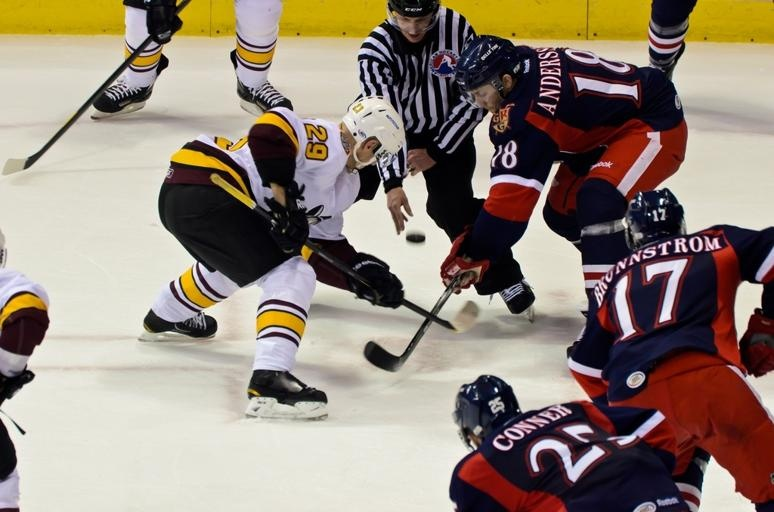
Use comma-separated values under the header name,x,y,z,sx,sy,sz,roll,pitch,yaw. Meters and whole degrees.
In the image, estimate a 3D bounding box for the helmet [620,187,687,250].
name,x,y,z,sx,sy,sz,roll,pitch,yaw
helmet,1.087,-0.160,3.499,0.216,0.262,0.253,0,67,-2

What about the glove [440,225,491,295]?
name,x,y,z,sx,sy,sz,roll,pitch,yaw
glove,0.388,0.045,4.333,0.125,0.311,0.296,29,21,-35

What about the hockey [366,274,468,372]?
name,x,y,z,sx,sy,sz,roll,pitch,yaw
hockey,0.167,0.272,4.445,0.279,0.188,0.811,33,48,10

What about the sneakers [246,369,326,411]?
name,x,y,z,sx,sy,sz,roll,pitch,yaw
sneakers,-0.459,0.615,3.848,0.423,0.227,0.146,0,-2,-3

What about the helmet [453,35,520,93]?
name,x,y,z,sx,sy,sz,roll,pitch,yaw
helmet,0.477,-0.951,4.131,0.302,0.285,0.234,-22,29,12

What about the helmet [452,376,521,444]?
name,x,y,z,sx,sy,sz,roll,pitch,yaw
helmet,0.338,0.520,2.978,0.196,0.242,0.249,-14,7,-19

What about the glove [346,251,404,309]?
name,x,y,z,sx,sy,sz,roll,pitch,yaw
glove,-0.041,0.135,4.337,0.299,0.109,0.208,31,-6,-8

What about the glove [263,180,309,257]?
name,x,y,z,sx,sy,sz,roll,pitch,yaw
glove,-0.476,-0.188,3.955,0.202,0.346,0.246,0,24,-8

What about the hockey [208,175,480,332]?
name,x,y,z,sx,sy,sz,roll,pitch,yaw
hockey,-0.232,0.012,4.396,1.468,0.167,0.210,32,3,-10

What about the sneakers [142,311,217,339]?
name,x,y,z,sx,sy,sz,roll,pitch,yaw
sneakers,-1.078,0.379,4.385,0.384,0.176,0.145,-6,53,-11
